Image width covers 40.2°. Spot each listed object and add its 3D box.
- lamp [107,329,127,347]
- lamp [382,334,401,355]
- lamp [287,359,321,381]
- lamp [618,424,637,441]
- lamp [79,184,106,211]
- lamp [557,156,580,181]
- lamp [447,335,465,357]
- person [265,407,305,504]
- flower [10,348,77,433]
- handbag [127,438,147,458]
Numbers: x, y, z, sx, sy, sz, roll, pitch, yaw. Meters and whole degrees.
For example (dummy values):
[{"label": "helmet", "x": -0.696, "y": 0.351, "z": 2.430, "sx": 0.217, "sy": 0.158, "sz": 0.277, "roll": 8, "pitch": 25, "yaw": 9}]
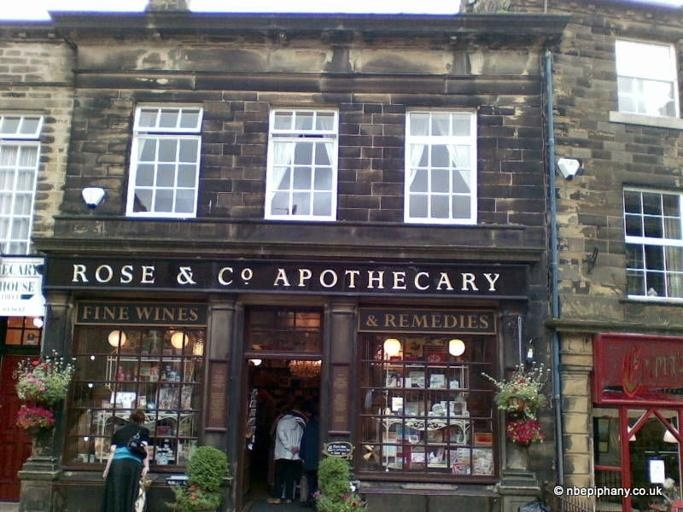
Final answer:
[{"label": "lamp", "x": -4.389, "y": 1.571, "z": 18.175, "sx": 0.331, "sy": 0.361, "sz": 0.326, "roll": 1, "pitch": 19, "yaw": -26}, {"label": "lamp", "x": 0.983, "y": 1.772, "z": 18.185, "sx": 0.305, "sy": 0.346, "sz": 0.302, "roll": -1, "pitch": -3, "yaw": -4}, {"label": "lamp", "x": -0.798, "y": 2.543, "z": 20.728, "sx": 0.790, "sy": 0.396, "sz": 0.315, "roll": -3, "pitch": -12, "yaw": 22}, {"label": "lamp", "x": 5.469, "y": 3.335, "z": 17.527, "sx": 0.241, "sy": 0.307, "sz": 0.082, "roll": 11, "pitch": -15, "yaw": -40}, {"label": "lamp", "x": -4.828, "y": -1.115, "z": 18.121, "sx": 0.478, "sy": 0.393, "sz": 0.415, "roll": -7, "pitch": -12, "yaw": 37}, {"label": "lamp", "x": 4.416, "y": -1.692, "z": 18.079, "sx": 0.420, "sy": 0.401, "sz": 0.100, "roll": -7, "pitch": -11, "yaw": -15}, {"label": "lamp", "x": 2.218, "y": 1.767, "z": 18.034, "sx": 0.319, "sy": 0.350, "sz": 0.315, "roll": 2, "pitch": -14, "yaw": -8}, {"label": "person", "x": -1.059, "y": 3.981, "z": 18.530, "sx": 0.667, "sy": 1.813, "sz": 0.356, "roll": 2, "pitch": -12, "yaw": -3}, {"label": "flower", "x": -5.557, "y": 2.550, "z": 17.460, "sx": 1.017, "sy": 1.562, "sz": 0.549, "roll": 5, "pitch": -12, "yaw": -16}, {"label": "handbag", "x": -3.678, "y": 3.422, "z": 16.661, "sx": 0.326, "sy": 0.307, "sz": 0.187, "roll": 12, "pitch": -14, "yaw": -33}]
